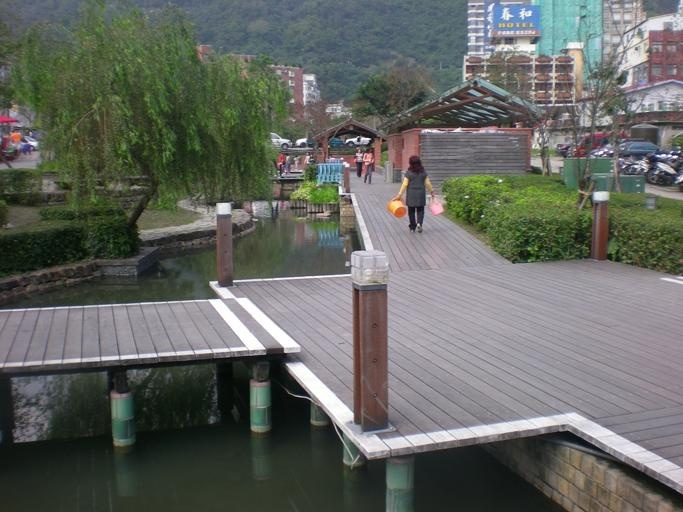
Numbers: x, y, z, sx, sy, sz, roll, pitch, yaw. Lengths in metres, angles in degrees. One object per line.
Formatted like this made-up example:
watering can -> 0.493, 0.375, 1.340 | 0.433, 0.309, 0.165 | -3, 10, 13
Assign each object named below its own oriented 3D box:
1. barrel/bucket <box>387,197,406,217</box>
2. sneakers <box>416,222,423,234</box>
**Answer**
barrel/bucket -> 1.292, -1.147, 14.528 | 0.361, 0.477, 0.446 | -3, 17, -6
sneakers -> 1.923, -0.727, 15.204 | 0.182, 0.226, 0.526 | 2, 11, 6
